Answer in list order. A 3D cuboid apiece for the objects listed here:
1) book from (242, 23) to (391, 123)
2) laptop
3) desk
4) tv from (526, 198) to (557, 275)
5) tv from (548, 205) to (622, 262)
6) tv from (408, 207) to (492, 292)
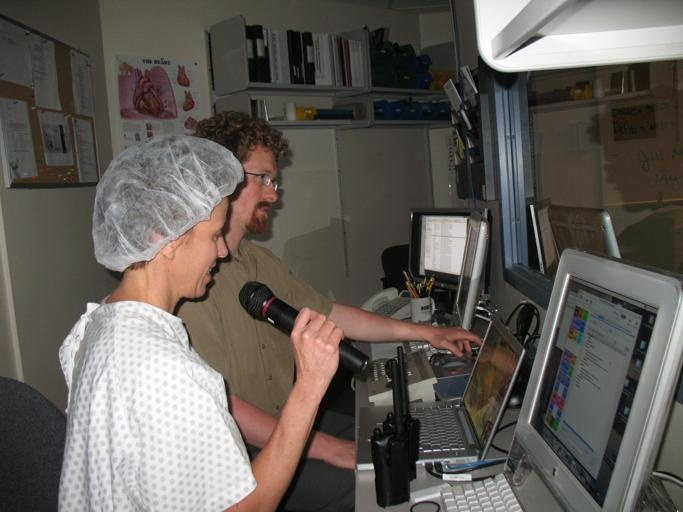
[{"bbox_3d":[-0.215,-1.414,3.671,1.030,0.466,0.212,-11,14,-41],"label":"book"},{"bbox_3d":[0.264,0.413,1.515,0.411,0.325,0.394,1,10,-5],"label":"laptop"},{"bbox_3d":[0.281,0.386,1.505,0.444,0.343,0.525,0,8,-2],"label":"desk"},{"bbox_3d":[0.859,-0.077,2.218,0.027,0.372,0.259,-7,11,34],"label":"tv"},{"bbox_3d":[0.859,-0.068,1.907,0.018,0.168,0.247,-4,8,-25],"label":"tv"},{"bbox_3d":[0.510,-0.046,2.649,0.494,0.389,0.057,2,-1,-39],"label":"tv"}]
